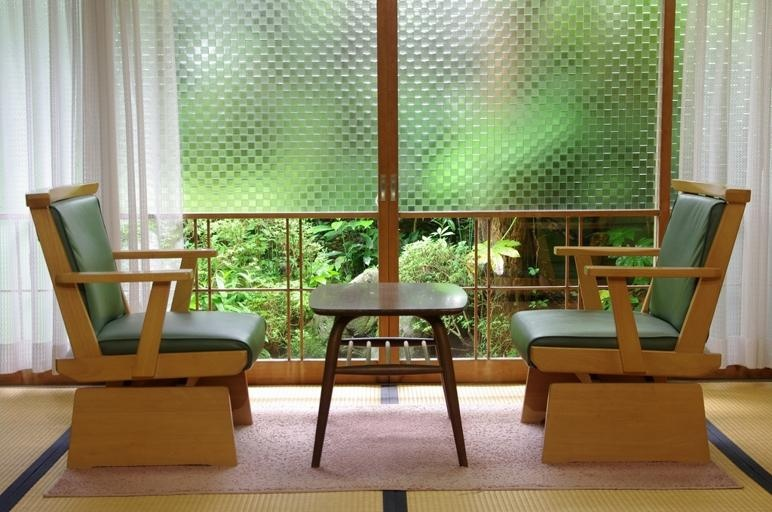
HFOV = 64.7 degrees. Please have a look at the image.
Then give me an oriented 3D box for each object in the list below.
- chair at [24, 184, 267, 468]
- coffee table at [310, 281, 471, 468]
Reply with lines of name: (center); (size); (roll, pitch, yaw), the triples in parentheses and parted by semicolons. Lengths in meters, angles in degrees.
chair: (-0.970, 0.339, 2.991); (1.303, 1.106, 0.851); (0, 3, 6)
coffee table: (0.010, 0.547, 2.899); (0.790, 0.577, 0.602); (0, 4, -6)
